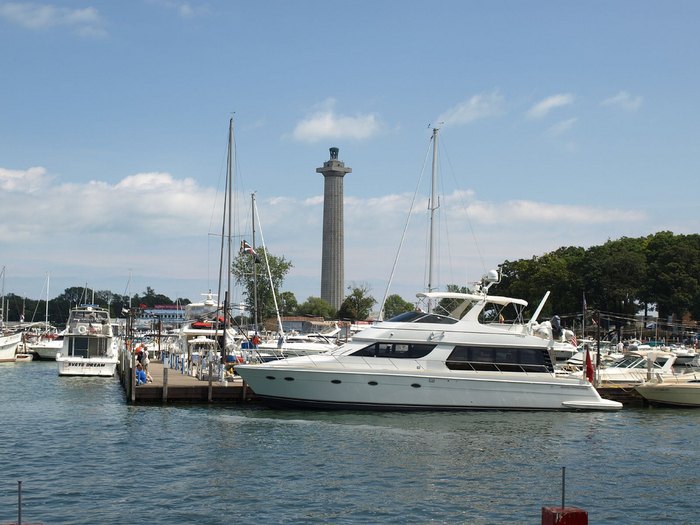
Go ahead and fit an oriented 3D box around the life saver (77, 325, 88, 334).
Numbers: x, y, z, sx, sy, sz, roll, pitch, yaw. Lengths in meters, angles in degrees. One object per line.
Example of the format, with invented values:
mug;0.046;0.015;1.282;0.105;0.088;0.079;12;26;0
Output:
life saver;-16.830;4.256;54.805;0.465;0.427;0.815;-1;6;-19
